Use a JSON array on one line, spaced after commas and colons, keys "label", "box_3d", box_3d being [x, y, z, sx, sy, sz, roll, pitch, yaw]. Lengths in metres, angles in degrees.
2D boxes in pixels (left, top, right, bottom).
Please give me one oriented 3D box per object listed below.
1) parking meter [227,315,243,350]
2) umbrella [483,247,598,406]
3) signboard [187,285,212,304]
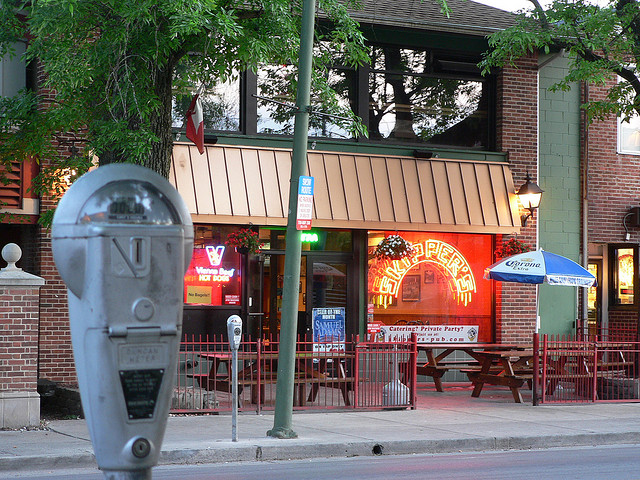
[{"label": "parking meter", "box_3d": [-1.248, 1.365, 17.793, 0.194, 0.487, 0.267, -1, -3, -8]}, {"label": "umbrella", "box_3d": [3.999, 1.547, 22.980, 2.563, 3.262, 2.561, 1, -6, -4]}, {"label": "signboard", "box_3d": [-2.293, 1.029, 22.842, 0.354, 0.244, 0.050, 1, -7, -32]}]
